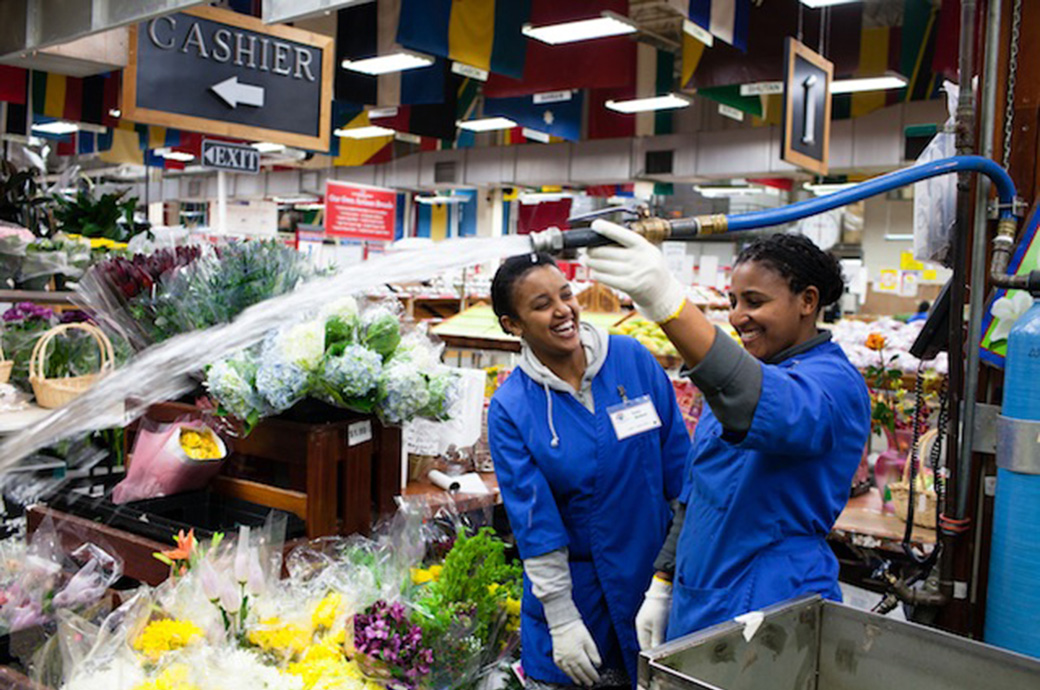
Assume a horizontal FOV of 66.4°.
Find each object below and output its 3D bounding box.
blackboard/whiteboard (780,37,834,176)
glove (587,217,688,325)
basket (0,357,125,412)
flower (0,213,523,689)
[{"bbox_3d":[2.087,-1.727,5.779,0.081,0.811,0.714,6,6,43],"label":"blackboard/whiteboard"},{"bbox_3d":[0.313,-0.206,2.140,0.272,0.268,0.157,4,5,5],"label":"glove"},{"bbox_3d":[-1.977,0.164,3.420,0.394,0.135,0.247,4,-4,-43],"label":"basket"},{"bbox_3d":[-0.720,-0.014,2.360,1.304,0.665,0.777,3,5,2],"label":"flower"}]
